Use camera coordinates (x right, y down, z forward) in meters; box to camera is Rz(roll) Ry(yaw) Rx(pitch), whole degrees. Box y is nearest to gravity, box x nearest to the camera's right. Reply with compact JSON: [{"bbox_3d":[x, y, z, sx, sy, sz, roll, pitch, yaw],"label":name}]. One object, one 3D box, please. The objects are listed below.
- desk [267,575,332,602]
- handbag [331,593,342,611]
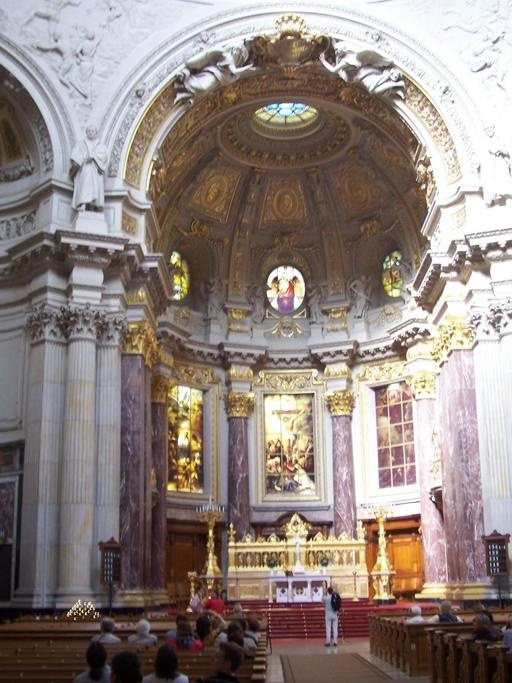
[{"bbox_3d":[1.280,7.145,19.539,1.590,0.817,0.382,-5,-16,7],"label":"desk"},{"bbox_3d":[1.583,5.218,13.486,0.170,0.337,0.432,-1,-18,-1],"label":"handbag"}]
